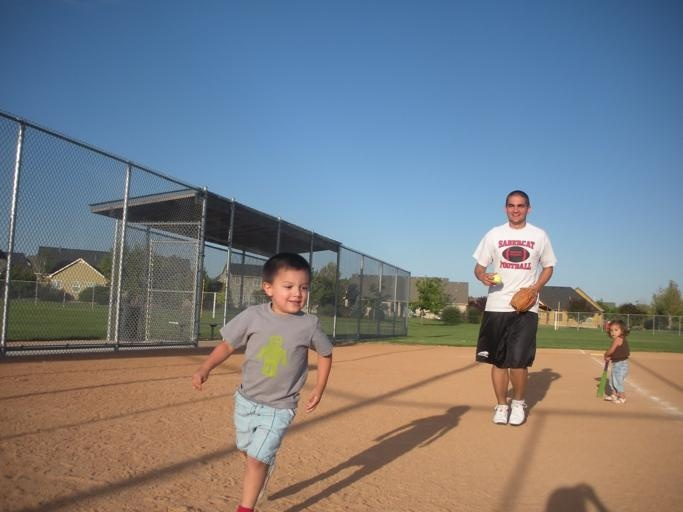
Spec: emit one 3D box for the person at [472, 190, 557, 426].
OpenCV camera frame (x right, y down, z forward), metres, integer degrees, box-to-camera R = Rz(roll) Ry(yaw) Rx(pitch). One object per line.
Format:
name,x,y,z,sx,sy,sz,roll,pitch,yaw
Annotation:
person,1.898,0.599,5.265,0.817,2.585,0.504,-2,-6,24

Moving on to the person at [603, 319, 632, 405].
person,4.254,1.580,7.403,0.318,1.155,1.476,-3,-7,31

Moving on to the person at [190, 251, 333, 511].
person,-0.455,0.773,3.066,0.810,1.585,0.354,2,-6,-17

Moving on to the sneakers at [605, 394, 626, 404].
sneakers,3.956,2.085,6.915,0.287,0.125,0.122,2,-9,26

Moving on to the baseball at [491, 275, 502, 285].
baseball,1.703,0.258,5.221,0.151,0.106,0.064,7,-8,-44

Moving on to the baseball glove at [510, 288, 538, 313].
baseball glove,1.936,0.461,5.024,0.151,0.208,0.284,16,-3,-7
